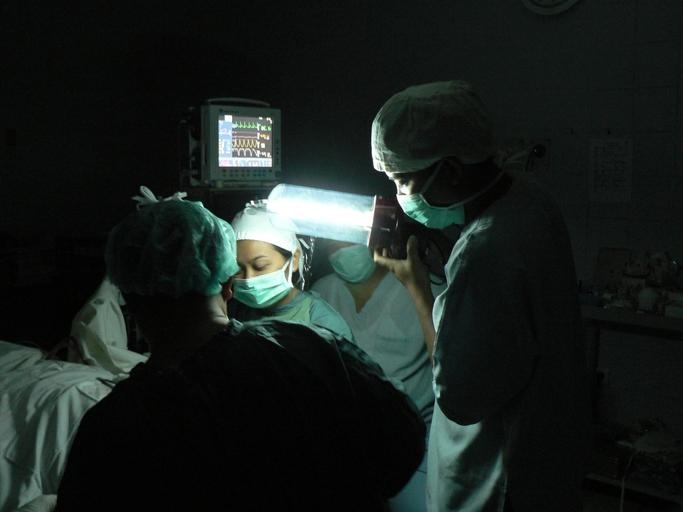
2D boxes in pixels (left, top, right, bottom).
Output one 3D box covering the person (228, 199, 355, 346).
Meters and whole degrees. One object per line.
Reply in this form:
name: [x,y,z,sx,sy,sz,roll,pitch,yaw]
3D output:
person: [-0.299,0.031,3.068,0.795,0.658,0.547,7,14,44]
